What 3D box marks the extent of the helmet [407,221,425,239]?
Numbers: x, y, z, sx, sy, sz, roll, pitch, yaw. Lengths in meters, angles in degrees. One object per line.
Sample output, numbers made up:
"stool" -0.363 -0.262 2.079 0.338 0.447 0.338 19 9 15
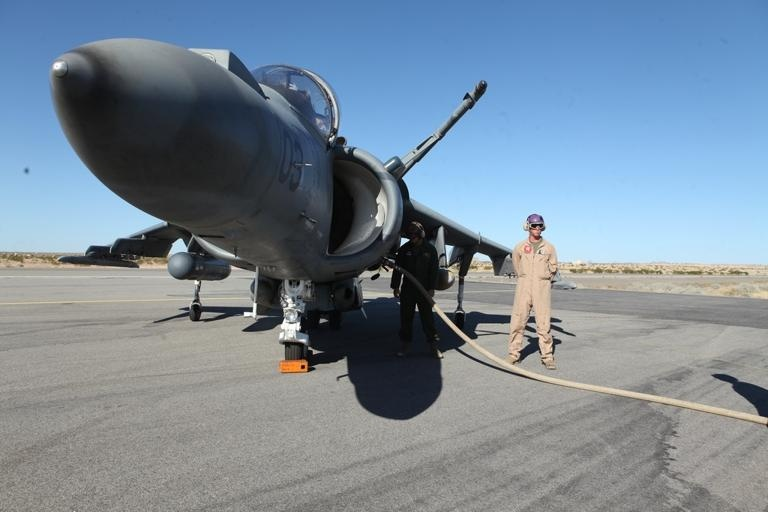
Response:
"helmet" 0.563 -0.481 8.013 0.288 0.285 0.311 -3 -12 3
